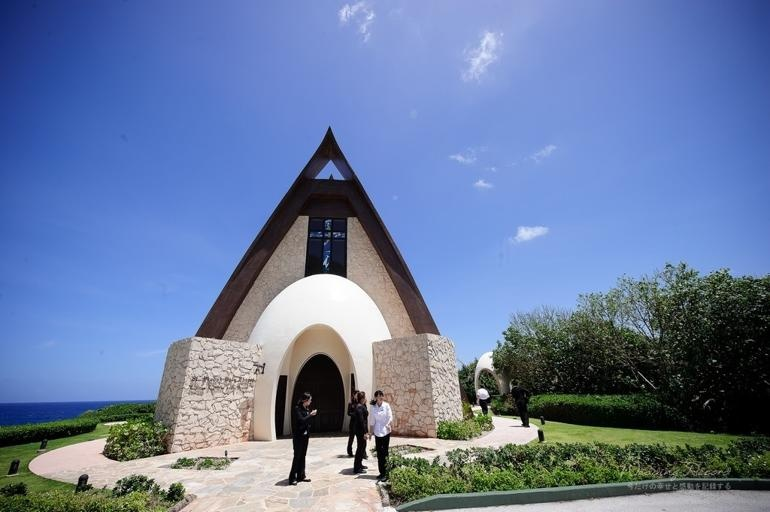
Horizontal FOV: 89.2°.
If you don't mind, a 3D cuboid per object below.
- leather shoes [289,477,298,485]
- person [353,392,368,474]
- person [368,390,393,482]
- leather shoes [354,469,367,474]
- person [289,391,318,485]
[{"bbox_3d":[-3.047,7.548,13.024,0.302,0.173,0.189,4,-13,-19],"label":"leather shoes"},{"bbox_3d":[-0.893,6.370,14.177,0.555,2.711,1.037,0,-11,-3],"label":"person"},{"bbox_3d":[-0.174,6.209,13.707,0.791,2.827,1.245,0,-11,-3],"label":"person"},{"bbox_3d":[-0.890,7.649,13.763,0.453,0.183,0.156,-6,-11,-1],"label":"leather shoes"},{"bbox_3d":[-2.882,6.258,13.489,0.769,2.883,0.897,2,-11,-13],"label":"person"}]
